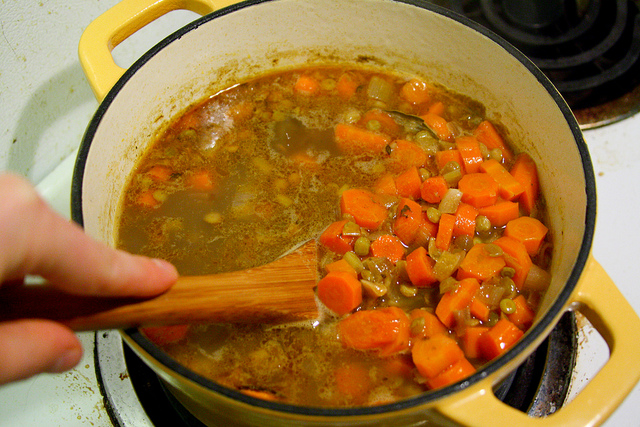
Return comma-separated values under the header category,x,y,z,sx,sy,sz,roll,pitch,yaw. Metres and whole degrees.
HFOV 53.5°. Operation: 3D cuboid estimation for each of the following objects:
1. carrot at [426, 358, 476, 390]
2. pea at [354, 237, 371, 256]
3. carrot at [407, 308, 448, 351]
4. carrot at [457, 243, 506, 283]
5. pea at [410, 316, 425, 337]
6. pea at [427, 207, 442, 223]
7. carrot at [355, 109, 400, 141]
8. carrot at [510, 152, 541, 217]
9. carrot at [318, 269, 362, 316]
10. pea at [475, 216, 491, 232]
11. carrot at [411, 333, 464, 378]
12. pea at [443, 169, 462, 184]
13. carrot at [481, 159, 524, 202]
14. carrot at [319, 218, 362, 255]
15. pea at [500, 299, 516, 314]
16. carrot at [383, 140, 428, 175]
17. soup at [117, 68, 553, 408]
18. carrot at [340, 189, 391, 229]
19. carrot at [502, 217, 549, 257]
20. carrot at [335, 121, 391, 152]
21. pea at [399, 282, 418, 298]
category,x,y,z,sx,sy,sz,roll,pitch,yaw
carrot,0.523,0.639,2.511,0.158,0.154,0.058,-25,54,-32
pea,0.187,0.145,2.814,0.073,0.070,0.091,6,93,39
carrot,0.424,0.488,2.677,0.157,0.152,0.158,-43,101,14
carrot,0.688,0.223,2.679,0.157,0.063,0.172,28,72,18
pea,0.398,0.461,2.586,0.046,0.072,0.023,24,27,0
pea,0.508,0.005,2.816,0.047,0.049,0.066,-13,65,16
carrot,0.301,-0.438,3.118,0.162,0.045,0.163,-21,66,-33
carrot,0.956,-0.133,2.915,0.121,0.154,0.276,0,86,-24
carrot,0.090,0.336,2.701,0.186,0.103,0.200,2,102,26
pea,0.727,0.047,2.812,0.060,0.031,0.065,-1,77,-4
carrot,0.458,0.558,2.519,0.166,0.069,0.169,-40,57,-5
pea,0.608,-0.172,2.904,0.063,0.050,0.048,-14,95,20
carrot,0.822,-0.165,2.900,0.132,0.208,0.158,10,107,12
carrot,0.079,0.110,2.863,0.130,0.153,0.194,0,21,27
pea,0.778,0.385,2.618,0.062,0.027,0.060,2,85,-1
carrot,0.396,-0.274,2.989,0.162,0.040,0.172,6,82,13
soup,0.143,0.084,3.465,1.859,1.306,2.436,-5,63,-3
carrot,0.207,-0.022,2.855,0.223,0.088,0.169,7,85,-1
carrot,0.902,0.077,2.762,0.137,0.092,0.179,2,52,-1
carrot,0.198,-0.371,3.050,0.160,0.049,0.171,12,31,-10
pea,0.382,0.329,2.718,0.075,0.039,0.065,4,85,-1
